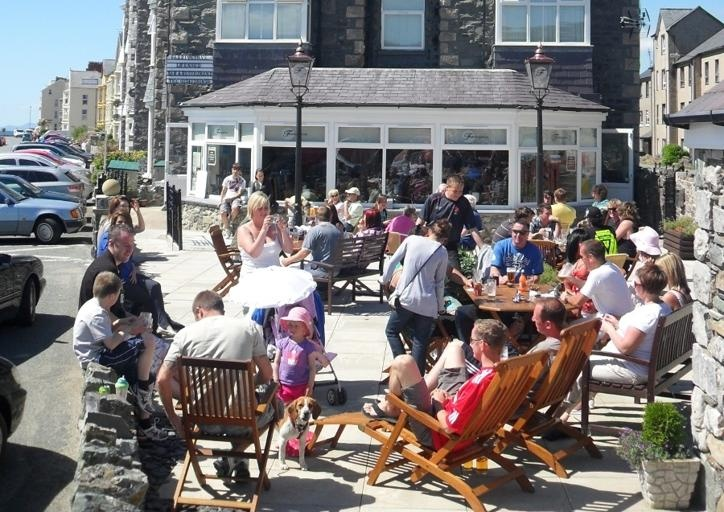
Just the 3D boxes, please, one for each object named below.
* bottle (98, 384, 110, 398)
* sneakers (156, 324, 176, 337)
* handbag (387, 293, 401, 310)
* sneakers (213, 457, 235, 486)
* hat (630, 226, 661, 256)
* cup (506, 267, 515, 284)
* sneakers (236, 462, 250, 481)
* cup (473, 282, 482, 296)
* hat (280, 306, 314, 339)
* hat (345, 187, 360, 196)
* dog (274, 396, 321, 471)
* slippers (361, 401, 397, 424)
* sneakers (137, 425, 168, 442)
[{"bbox_3d":[-2.755,1.419,8.242,0.092,0.103,0.100,1,-3,18],"label":"bottle"},{"bbox_3d":[-3.112,1.180,12.223,0.292,0.129,0.238,-6,13,-42],"label":"sneakers"},{"bbox_3d":[0.438,0.600,10.066,0.066,0.229,0.148,0,22,-41],"label":"handbag"},{"bbox_3d":[-1.478,2.242,8.141,0.145,0.426,0.187,-4,27,14],"label":"sneakers"},{"bbox_3d":[4.213,-0.220,11.576,0.384,0.249,0.464,24,17,-31],"label":"hat"},{"bbox_3d":[2.150,0.283,11.307,0.154,0.290,0.168,-1,-1,0],"label":"cup"},{"bbox_3d":[-1.275,2.236,8.152,0.163,0.147,0.354,0,2,-10],"label":"sneakers"},{"bbox_3d":[1.581,0.442,10.698,0.127,0.236,0.137,0,-31,0],"label":"cup"},{"bbox_3d":[-0.759,0.791,9.053,0.309,0.230,0.390,10,-17,26],"label":"hat"},{"bbox_3d":[-0.258,-1.582,18.855,0.281,0.163,0.406,6,9,-10],"label":"hat"},{"bbox_3d":[-0.705,1.898,8.418,0.439,0.812,0.491,0,2,-8],"label":"dog"},{"bbox_3d":[0.164,1.694,8.460,0.355,0.095,0.175,26,31,19],"label":"slippers"},{"bbox_3d":[-2.446,2.045,9.022,0.325,0.174,0.151,2,7,-6],"label":"sneakers"}]
